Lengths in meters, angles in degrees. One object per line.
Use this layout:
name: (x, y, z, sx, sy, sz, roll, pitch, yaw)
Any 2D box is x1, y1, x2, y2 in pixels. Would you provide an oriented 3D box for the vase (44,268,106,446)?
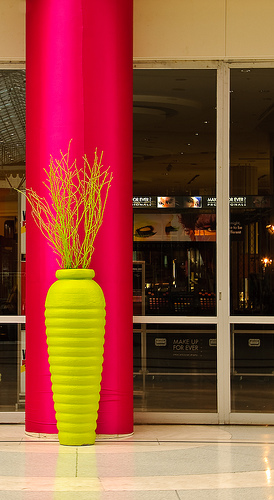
vase: (-0.410, 0.786, 3.400, 0.395, 1.149, 0.297, 0, -8, -10)

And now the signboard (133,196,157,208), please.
signboard: (0.081, -0.432, 4.445, 0.207, 0.100, 0.027, 0, -7, -10)

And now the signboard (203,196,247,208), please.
signboard: (0.788, -0.432, 4.426, 0.384, 0.113, 0.036, -2, -7, 1)
